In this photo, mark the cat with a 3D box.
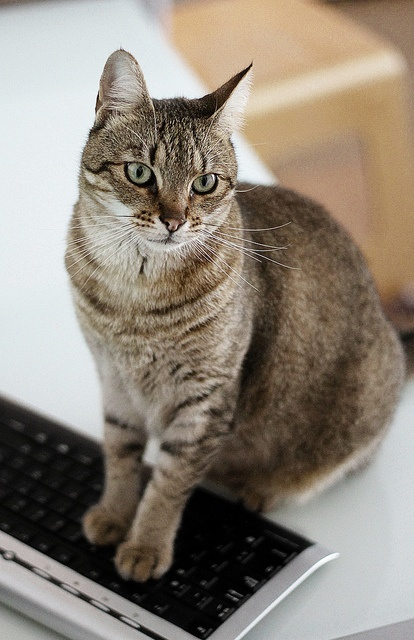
[{"bbox_3d":[0.000,-0.079,0.967,0.264,0.537,0.746,29,40,32],"label":"cat"}]
